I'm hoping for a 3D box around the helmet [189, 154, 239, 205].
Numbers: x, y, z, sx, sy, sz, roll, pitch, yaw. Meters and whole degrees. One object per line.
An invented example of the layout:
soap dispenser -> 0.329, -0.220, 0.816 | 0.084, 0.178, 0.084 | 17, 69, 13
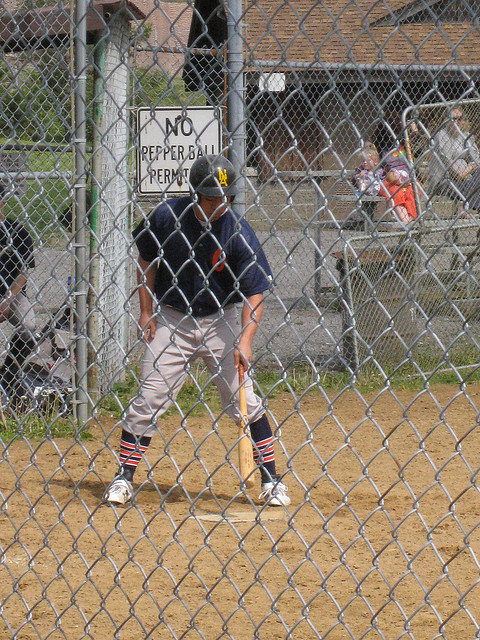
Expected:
helmet -> -0.123, -0.627, 4.701 | 0.225, 0.206, 0.331 | 2, 10, -11
